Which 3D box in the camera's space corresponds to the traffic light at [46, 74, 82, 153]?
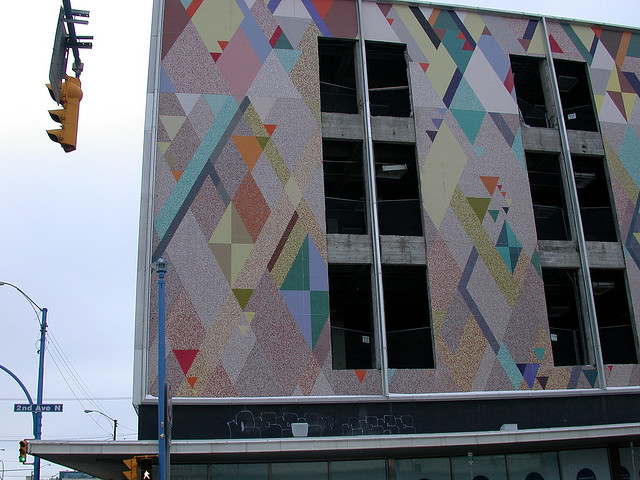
[{"bbox_3d":[-8.545,-4.413,32.163,1.181,2.717,0.594,3,-11,-8],"label":"traffic light"}]
